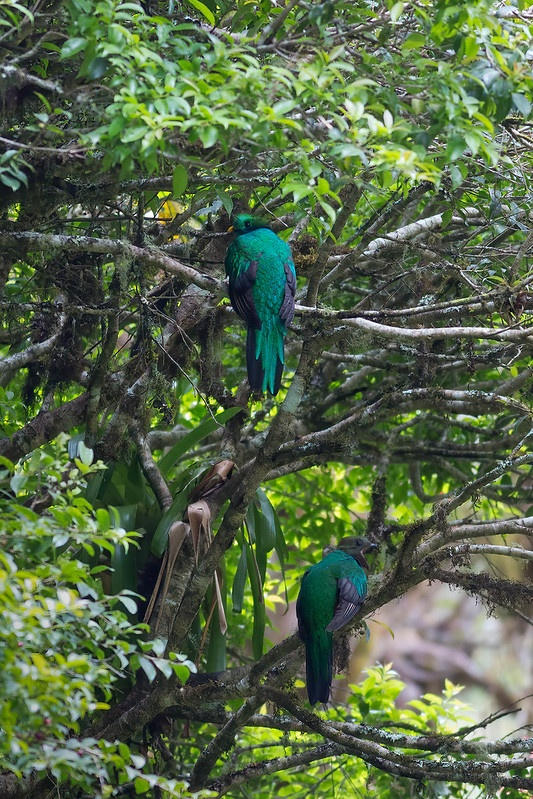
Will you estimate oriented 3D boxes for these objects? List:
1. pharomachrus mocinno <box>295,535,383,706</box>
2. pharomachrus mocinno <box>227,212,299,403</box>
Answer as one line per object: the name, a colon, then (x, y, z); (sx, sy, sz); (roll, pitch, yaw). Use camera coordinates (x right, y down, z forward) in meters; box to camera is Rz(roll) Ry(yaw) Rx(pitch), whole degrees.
pharomachrus mocinno: (0.334, 0.951, 5.633); (0.272, 0.777, 0.352); (-13, -55, 34)
pharomachrus mocinno: (-0.024, -0.442, 5.515); (0.263, 0.754, 0.308); (-4, -20, -3)
